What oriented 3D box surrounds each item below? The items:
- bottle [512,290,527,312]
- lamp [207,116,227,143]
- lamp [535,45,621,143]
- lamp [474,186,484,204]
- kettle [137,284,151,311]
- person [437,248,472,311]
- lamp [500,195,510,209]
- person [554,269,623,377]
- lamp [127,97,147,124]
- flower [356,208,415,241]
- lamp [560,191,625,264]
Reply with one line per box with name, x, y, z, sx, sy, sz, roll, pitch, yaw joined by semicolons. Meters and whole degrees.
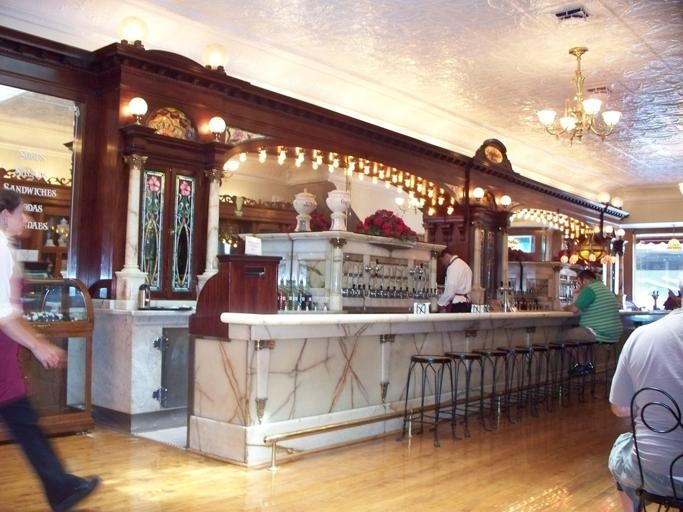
bottle;3.969;1.009;12.563;0.247;0.449;0.467;-5;-6;42
lamp;-1.539;-1.580;6.918;0.228;0.325;0.387;2;-2;-13
lamp;3.447;-2.372;8.097;1.120;1.270;1.143;-1;5;15
lamp;2.722;-1.227;11.206;0.225;0.319;0.230;19;43;29
kettle;-2.154;0.442;6.115;0.124;0.272;0.121;4;-3;-45
person;1.800;0.386;8.959;0.500;1.026;0.845;2;-2;10
lamp;3.506;-1.161;11.884;0.240;0.296;0.243;-1;2;-7
person;4.107;1.073;9.066;0.771;1.758;0.978;18;-20;-30
lamp;-2.263;-1.632;6.205;0.215;0.325;0.260;3;-2;-22
flower;0.680;-0.424;9.042;0.583;0.304;0.588;5;-3;-10
lamp;7.102;-0.692;15.905;1.555;2.018;4.287;1;-2;27
